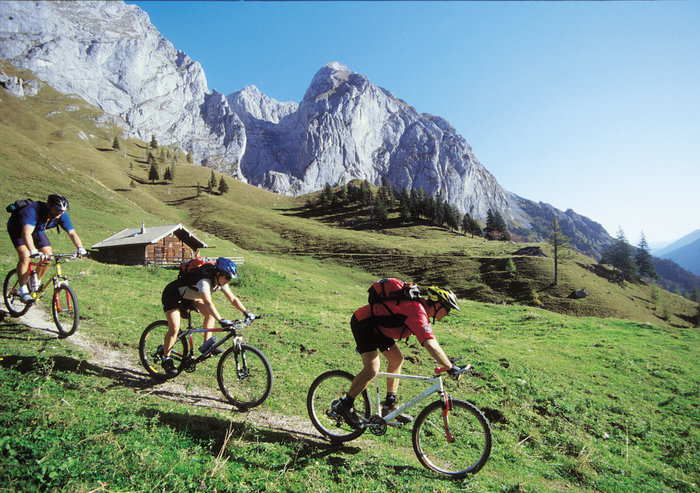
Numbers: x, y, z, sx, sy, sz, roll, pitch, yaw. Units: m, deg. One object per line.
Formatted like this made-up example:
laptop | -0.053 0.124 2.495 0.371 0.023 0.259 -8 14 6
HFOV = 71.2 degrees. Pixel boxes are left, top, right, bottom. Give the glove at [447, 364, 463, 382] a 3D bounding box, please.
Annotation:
glove | 3.901 4.659 17.888 0.617 0.379 0.288 -6 -45 27

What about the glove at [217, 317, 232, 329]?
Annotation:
glove | -5.021 3.066 19.651 0.500 0.344 0.276 -12 20 -23

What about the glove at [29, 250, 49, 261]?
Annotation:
glove | -13.687 0.408 21.456 0.583 0.293 0.434 8 9 42

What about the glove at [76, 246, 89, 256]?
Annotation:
glove | -12.058 0.246 21.972 0.494 0.247 0.671 4 1 -36
